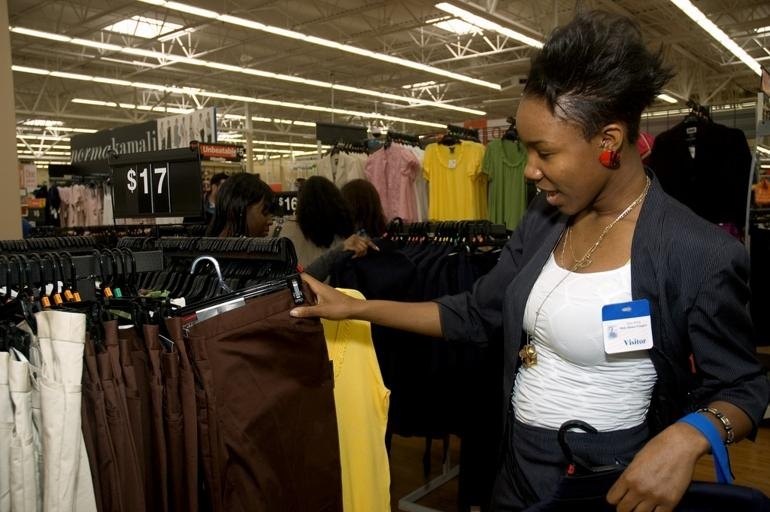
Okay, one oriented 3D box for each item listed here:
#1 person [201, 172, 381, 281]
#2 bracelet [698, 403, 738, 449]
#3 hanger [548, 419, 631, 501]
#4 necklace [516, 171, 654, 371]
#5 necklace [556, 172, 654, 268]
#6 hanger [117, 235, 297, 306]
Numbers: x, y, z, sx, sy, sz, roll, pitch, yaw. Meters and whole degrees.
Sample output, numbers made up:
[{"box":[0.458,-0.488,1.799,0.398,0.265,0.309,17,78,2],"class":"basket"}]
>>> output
[{"box":[-0.581,-0.166,2.892,0.739,0.259,0.541,7,11,44],"class":"person"},{"box":[0.930,0.444,1.555,0.062,0.124,0.112,-12,12,-10],"class":"bracelet"},{"box":[0.604,0.607,1.696,0.224,0.262,0.165,-5,-1,15],"class":"hanger"},{"box":[0.681,0.024,1.853,0.112,0.843,0.259,17,7,-45],"class":"necklace"},{"box":[0.698,-0.080,1.778,0.059,0.349,0.213,11,37,-22],"class":"necklace"},{"box":[-0.789,0.041,2.393,1.184,0.245,0.483,5,7,42],"class":"hanger"}]
